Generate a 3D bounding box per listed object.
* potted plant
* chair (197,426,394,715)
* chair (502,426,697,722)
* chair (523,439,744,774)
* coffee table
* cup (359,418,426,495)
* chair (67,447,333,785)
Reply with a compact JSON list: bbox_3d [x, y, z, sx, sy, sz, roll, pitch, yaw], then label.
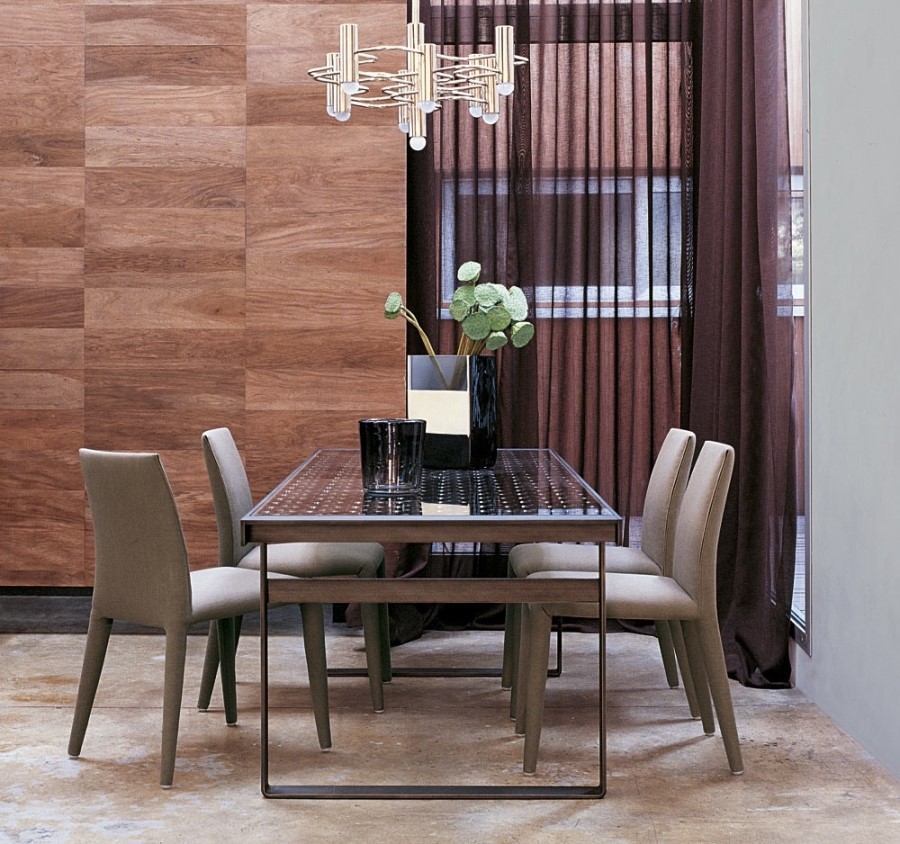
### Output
[{"bbox_3d":[0.014,-0.151,3.105,0.454,0.593,0.296,0,-3,-35],"label":"potted plant"},{"bbox_3d":[-0.486,0.345,3.276,0.500,0.789,0.450,-12,8,-2],"label":"chair"},{"bbox_3d":[0.491,0.410,3.213,0.545,0.735,0.458,-1,5,11],"label":"chair"},{"bbox_3d":[0.456,0.433,2.846,0.580,0.831,0.541,1,8,-8],"label":"chair"},{"bbox_3d":[-0.019,0.517,2.760,0.913,0.736,0.938,1,5,1],"label":"coffee table"},{"bbox_3d":[-0.182,0.080,2.621,0.180,0.198,0.179,0,3,0],"label":"cup"},{"bbox_3d":[-0.691,0.496,2.795,0.503,0.805,0.584,-1,-2,45],"label":"chair"}]
